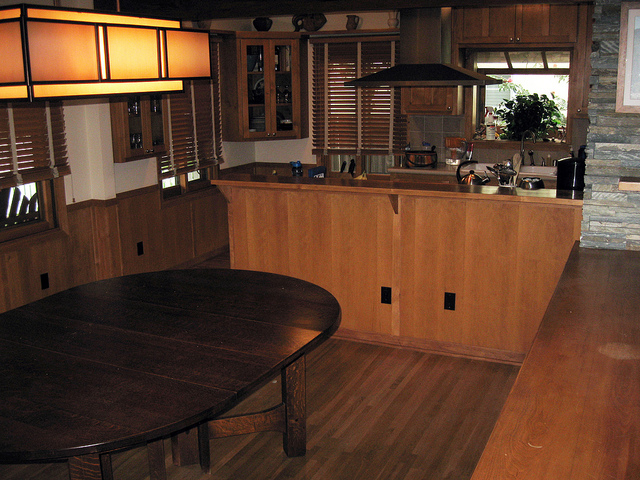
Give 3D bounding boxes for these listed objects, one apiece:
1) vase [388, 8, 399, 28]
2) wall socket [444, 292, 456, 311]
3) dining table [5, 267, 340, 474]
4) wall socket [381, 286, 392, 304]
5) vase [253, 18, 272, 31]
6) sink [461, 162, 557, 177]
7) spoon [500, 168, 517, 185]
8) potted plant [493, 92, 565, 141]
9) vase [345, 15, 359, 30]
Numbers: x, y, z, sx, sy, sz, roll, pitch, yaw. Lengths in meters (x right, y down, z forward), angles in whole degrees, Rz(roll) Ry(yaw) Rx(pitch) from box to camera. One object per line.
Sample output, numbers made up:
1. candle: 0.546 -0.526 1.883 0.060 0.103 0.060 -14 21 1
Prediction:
1. vase: 0.890 -2.769 6.196 0.120 0.204 0.241 -9 17 -26
2. wall socket: 0.998 0.478 3.807 0.084 0.137 0.017 3 15 17
3. dining table: -0.635 0.616 2.237 0.784 0.444 1.002 4 15 16
4. wall socket: 0.529 0.453 3.972 0.083 0.140 0.011 4 16 19
5. vase: -0.770 -2.845 6.516 0.182 0.127 0.183 -4 17 -4
6. sink: 2.259 -0.844 5.922 1.018 0.122 0.421 4 16 19
7. spoon: 1.458 -0.489 3.828 0.105 0.096 0.097 -1 29 4
8. potted plant: 2.562 -1.531 5.971 0.706 0.522 0.708 9 14 37
9. vase: 0.404 -2.801 6.347 0.186 0.190 0.127 -1 11 -6
